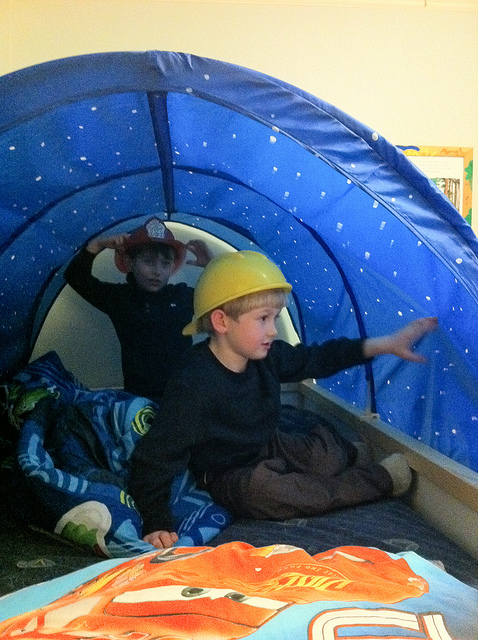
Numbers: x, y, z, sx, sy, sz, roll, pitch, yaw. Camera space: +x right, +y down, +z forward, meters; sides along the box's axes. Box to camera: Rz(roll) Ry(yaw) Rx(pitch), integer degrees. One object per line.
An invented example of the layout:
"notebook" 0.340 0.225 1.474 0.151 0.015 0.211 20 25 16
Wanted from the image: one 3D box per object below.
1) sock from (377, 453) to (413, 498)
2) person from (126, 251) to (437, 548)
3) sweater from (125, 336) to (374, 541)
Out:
"sock" 0.350 0.356 1.330 0.060 0.095 0.054 6 -7 -31
"person" 0.129 0.148 1.410 0.926 0.600 0.424 -5 2 -25
"sweater" 0.023 0.247 1.425 0.621 0.442 0.204 6 -7 -32
